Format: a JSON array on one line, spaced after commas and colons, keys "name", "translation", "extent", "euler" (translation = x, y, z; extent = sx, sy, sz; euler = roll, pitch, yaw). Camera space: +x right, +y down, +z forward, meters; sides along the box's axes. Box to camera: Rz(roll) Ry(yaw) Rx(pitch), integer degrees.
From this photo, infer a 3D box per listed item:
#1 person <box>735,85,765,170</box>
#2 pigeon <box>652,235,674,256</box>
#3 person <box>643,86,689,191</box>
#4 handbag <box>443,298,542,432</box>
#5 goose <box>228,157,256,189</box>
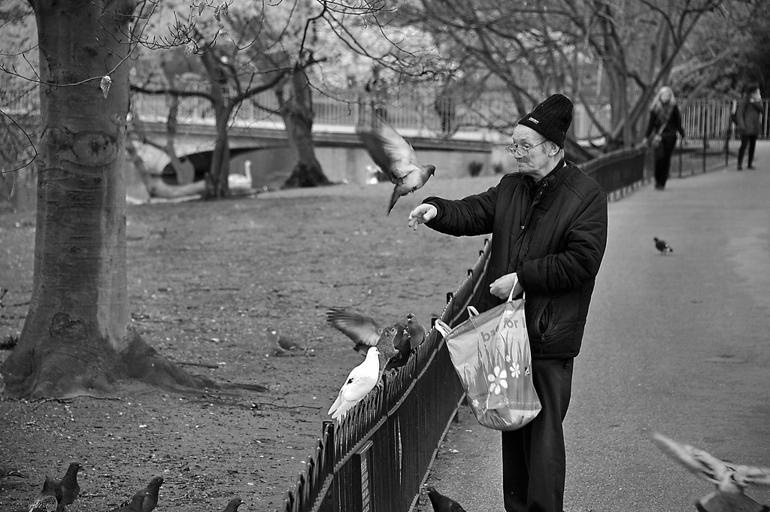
[{"name": "person", "translation": [7.080, -2.408, 27.544], "extent": [0.531, 1.681, 2.171], "euler": [2, 9, 14]}, {"name": "pigeon", "translation": [4.417, -0.157, 22.322], "extent": [0.296, 0.230, 0.480], "euler": [1, 9, 11]}, {"name": "person", "translation": [5.389, -2.361, 27.300], "extent": [0.635, 2.094, 0.901], "euler": [0, 0, 35]}, {"name": "handbag", "translation": [1.108, 1.102, 14.641], "extent": [0.920, 1.465, 0.782], "euler": [2, -1, 36]}, {"name": "goose", "translation": [-2.177, -1.233, 21.666], "extent": [0.370, 0.498, 0.602], "euler": [-1, 9, -7]}]
